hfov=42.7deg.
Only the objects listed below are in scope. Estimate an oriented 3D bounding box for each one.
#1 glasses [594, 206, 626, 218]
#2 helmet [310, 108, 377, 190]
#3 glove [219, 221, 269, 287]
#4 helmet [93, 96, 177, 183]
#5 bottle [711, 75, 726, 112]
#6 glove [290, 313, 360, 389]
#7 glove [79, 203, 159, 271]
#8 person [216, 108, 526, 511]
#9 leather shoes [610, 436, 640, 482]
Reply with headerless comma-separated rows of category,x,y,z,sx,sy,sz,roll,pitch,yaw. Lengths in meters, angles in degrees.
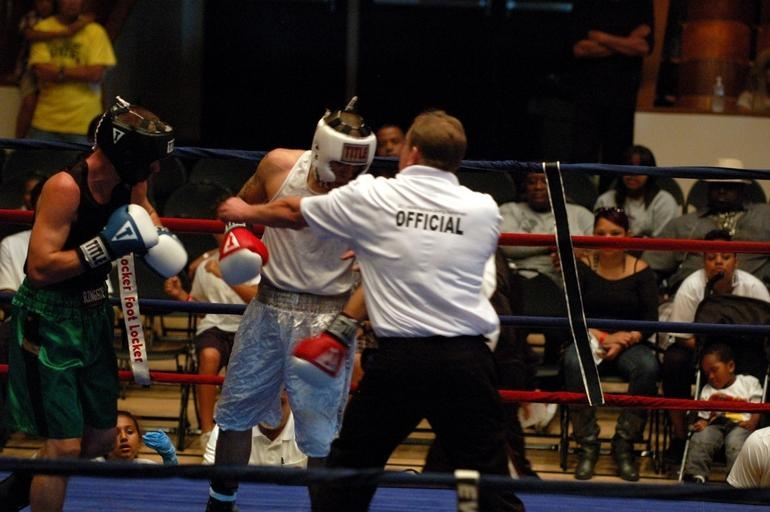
glasses,1.575,-0.309,6.919,0.125,0.101,0.034,2,12,21
helmet,-0.232,-0.574,5.046,0.280,0.276,0.282,11,31,-19
glove,-0.711,-0.018,4.974,0.173,0.242,0.285,48,14,-39
helmet,-1.243,-0.595,5.030,0.449,0.361,0.317,16,28,12
bottle,2.772,-1.347,8.206,0.114,0.302,0.050,4,6,8
glove,-0.289,0.461,4.810,0.251,0.354,0.150,32,-17,-18
glove,-1.308,-0.087,4.936,0.410,0.258,0.138,-29,-16,-8
person,0.073,0.168,4.835,1.149,1.770,0.392,3,6,-6
leather shoes,1.584,1.325,6.457,0.164,0.253,0.241,3,5,-5
